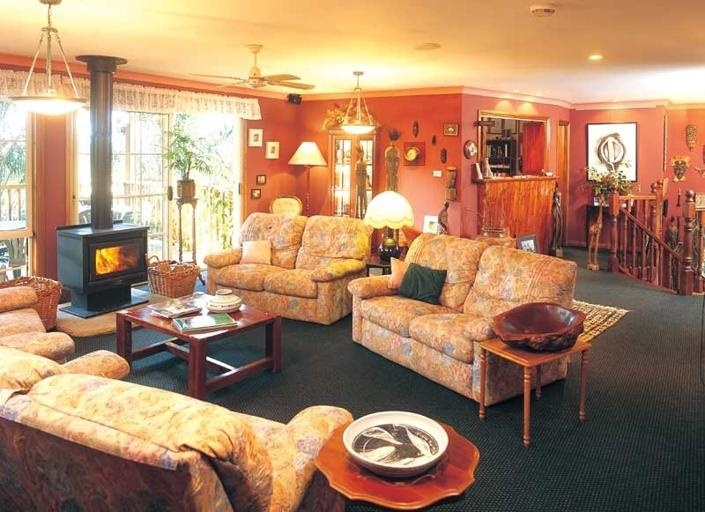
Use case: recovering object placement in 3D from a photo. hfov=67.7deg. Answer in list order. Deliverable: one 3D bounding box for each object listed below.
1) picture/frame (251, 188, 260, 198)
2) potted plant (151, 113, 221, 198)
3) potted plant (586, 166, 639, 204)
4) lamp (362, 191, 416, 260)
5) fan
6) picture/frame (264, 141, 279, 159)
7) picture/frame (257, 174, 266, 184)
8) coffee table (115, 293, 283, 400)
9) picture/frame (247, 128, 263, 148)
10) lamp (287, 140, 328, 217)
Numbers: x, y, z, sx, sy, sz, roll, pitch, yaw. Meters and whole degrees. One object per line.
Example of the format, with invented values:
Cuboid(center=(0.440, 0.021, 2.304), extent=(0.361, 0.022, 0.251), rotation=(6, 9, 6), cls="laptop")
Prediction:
Cuboid(center=(-1.604, -1.025, 8.663), extent=(0.021, 0.116, 0.158), rotation=(4, 7, 32), cls="picture/frame")
Cuboid(center=(-2.405, -1.465, 7.884), extent=(0.680, 1.262, 1.696), rotation=(-2, 14, -9), cls="potted plant")
Cuboid(center=(4.679, -1.308, 9.613), extent=(0.901, 0.749, 1.026), rotation=(4, 9, 25), cls="potted plant")
Cuboid(center=(0.427, -0.333, 5.844), extent=(0.662, 0.829, 0.684), rotation=(1, 3, 9), cls="lamp")
Cuboid(center=(-1.247, -2.221, 6.210), extent=(0.764, 0.292, 0.790), rotation=(9, 11, 23), cls="fan")
Cuboid(center=(-1.362, -1.775, 8.812), extent=(0.039, 0.296, 0.297), rotation=(5, 8, 33), cls="picture/frame")
Cuboid(center=(-1.512, -1.265, 8.715), extent=(0.015, 0.121, 0.154), rotation=(7, 10, 32), cls="picture/frame")
Cuboid(center=(-1.163, 0.595, 4.400), extent=(0.849, 0.523, 0.924), rotation=(8, 9, 37), cls="coffee table")
Cuboid(center=(-1.587, -1.907, 8.525), extent=(0.031, 0.325, 0.324), rotation=(4, 4, 36), cls="picture/frame")
Cuboid(center=(-0.788, -1.288, 9.001), extent=(0.681, 1.290, 0.618), rotation=(3, 13, 10), cls="lamp")
